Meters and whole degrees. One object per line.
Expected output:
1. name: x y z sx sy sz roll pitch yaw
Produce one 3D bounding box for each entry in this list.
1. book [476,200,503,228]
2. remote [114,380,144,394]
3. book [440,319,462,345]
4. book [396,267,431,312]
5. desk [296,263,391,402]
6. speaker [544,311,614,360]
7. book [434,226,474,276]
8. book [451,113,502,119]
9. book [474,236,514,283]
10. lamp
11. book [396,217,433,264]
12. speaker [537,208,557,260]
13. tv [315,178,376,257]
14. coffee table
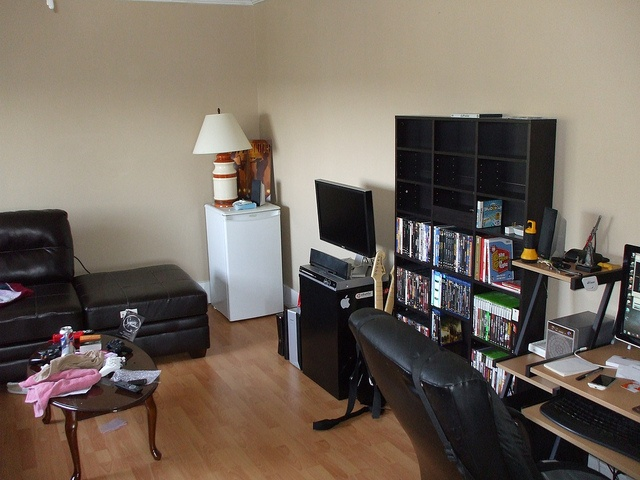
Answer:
1. book: 1.028 -0.162 3.001 0.131 0.141 0.049 -8 15 -30
2. remote: -1.152 0.872 2.943 0.124 0.032 0.071 13 23 16
3. book: 0.902 0.632 3.418 0.185 0.178 0.025 -4 6 -39
4. book: 0.684 0.342 3.544 0.084 0.253 0.273 -8 15 -28
5. desk: 0.167 0.628 3.390 0.502 1.064 0.772 -6 12 -29
6. speaker: 1.444 0.499 2.717 0.362 0.223 0.373 1 -5 -31
7. book: 0.876 0.062 3.181 0.130 0.253 0.252 -9 14 -24
8. book: 0.926 -0.731 2.910 0.281 0.026 0.132 4 16 16
9. book: 1.059 0.111 2.963 0.215 0.315 0.158 -8 11 -38
10. lamp: -1.034 -0.846 5.135 0.560 0.999 0.528 -7 16 -24
11. book: 0.670 -0.011 3.448 0.097 0.268 0.283 -9 8 -30
12. speaker: 1.248 -0.039 2.701 0.085 0.272 0.093 7 16 27
13. tv: 0.213 -0.195 3.925 0.058 0.459 0.592 -19 25 -28
14. coffee table: -1.306 1.000 3.023 0.696 0.571 0.819 -14 29 -38
